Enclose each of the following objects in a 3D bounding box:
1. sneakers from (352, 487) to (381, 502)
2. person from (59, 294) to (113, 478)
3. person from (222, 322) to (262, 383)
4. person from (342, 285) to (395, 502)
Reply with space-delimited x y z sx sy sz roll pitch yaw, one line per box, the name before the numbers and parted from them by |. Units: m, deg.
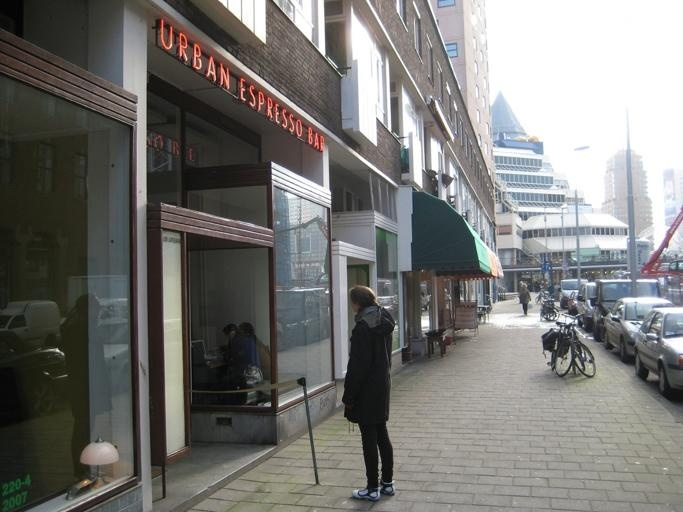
sneakers | 0.279 2.546 6.413 0.309 0.158 0.125 3 -1 19
person | -2.520 1.312 5.821 0.410 1.672 0.455 -14 -11 7
person | -1.520 1.476 8.965 0.601 0.903 0.217 -5 -4 15
person | 0.324 1.475 6.538 0.605 2.319 0.558 -4 -4 4
